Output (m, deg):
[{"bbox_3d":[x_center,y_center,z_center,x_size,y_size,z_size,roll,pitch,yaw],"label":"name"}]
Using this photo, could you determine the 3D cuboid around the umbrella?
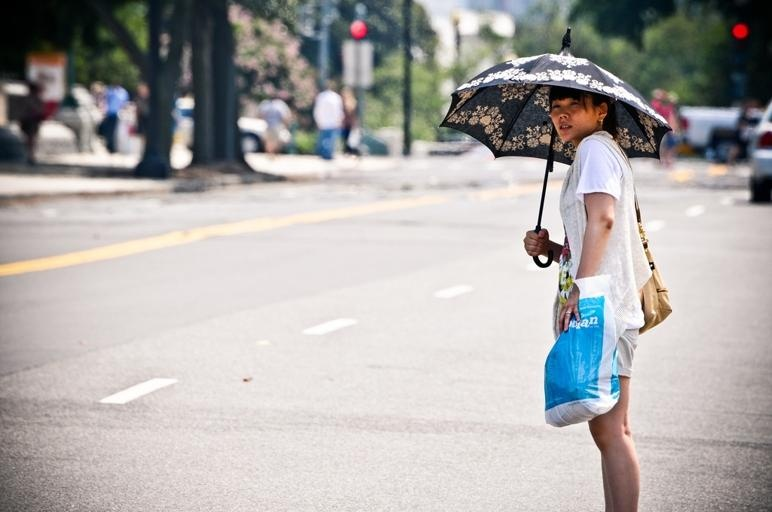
[{"bbox_3d":[0.889,-0.611,5.050,1.184,1.301,1.202,1,-13,30],"label":"umbrella"}]
